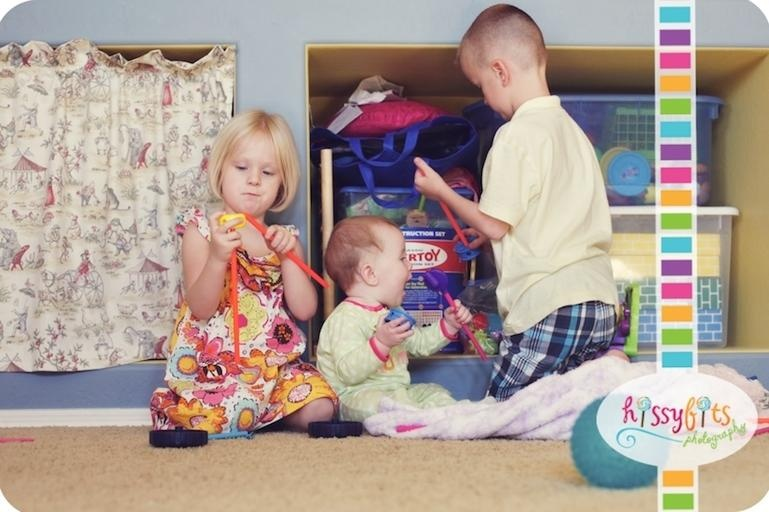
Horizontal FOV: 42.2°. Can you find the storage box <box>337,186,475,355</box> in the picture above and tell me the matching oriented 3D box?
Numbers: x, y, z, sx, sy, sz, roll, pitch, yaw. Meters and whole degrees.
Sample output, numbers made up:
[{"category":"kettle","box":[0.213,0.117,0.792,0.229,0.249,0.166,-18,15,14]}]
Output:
[{"category":"storage box","box":[0.179,0.053,3.279,0.508,0.644,0.512,-2,-2,11]}]

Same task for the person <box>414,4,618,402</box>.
[{"category":"person","box":[0.389,-0.160,2.825,0.553,1.107,0.246,3,0,10]}]

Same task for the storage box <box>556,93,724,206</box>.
[{"category":"storage box","box":[0.812,-0.341,3.349,0.599,0.364,0.326,-1,-3,-29]}]

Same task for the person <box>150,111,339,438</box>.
[{"category":"person","box":[-0.401,0.049,2.806,0.569,0.882,0.638,9,13,27]}]

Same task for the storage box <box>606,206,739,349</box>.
[{"category":"storage box","box":[0.883,0.039,3.325,0.613,0.540,0.407,0,-1,3]}]
